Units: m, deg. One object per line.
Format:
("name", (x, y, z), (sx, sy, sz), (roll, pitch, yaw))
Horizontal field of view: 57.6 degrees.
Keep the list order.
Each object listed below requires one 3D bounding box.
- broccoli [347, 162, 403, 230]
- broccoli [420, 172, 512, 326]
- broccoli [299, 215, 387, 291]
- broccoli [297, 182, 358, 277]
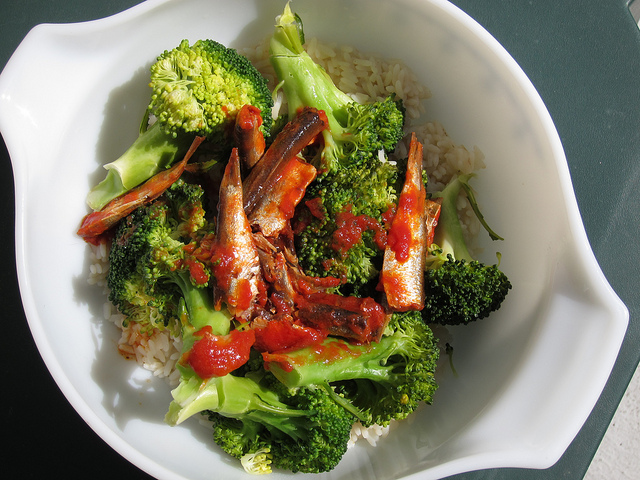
("broccoli", (0.223, -0.208, 2.411), (0.218, 0.121, 0.272), (-13, 82, -11))
("broccoli", (0.587, 0.107, 2.449), (0.363, 0.285, 0.694), (-6, 75, 6))
("broccoli", (0.094, 0.041, 2.388), (0.353, 0.082, 0.269), (-5, 85, -2))
("broccoli", (0.019, -0.063, 2.462), (0.224, 0.140, 0.407), (8, 91, 20))
